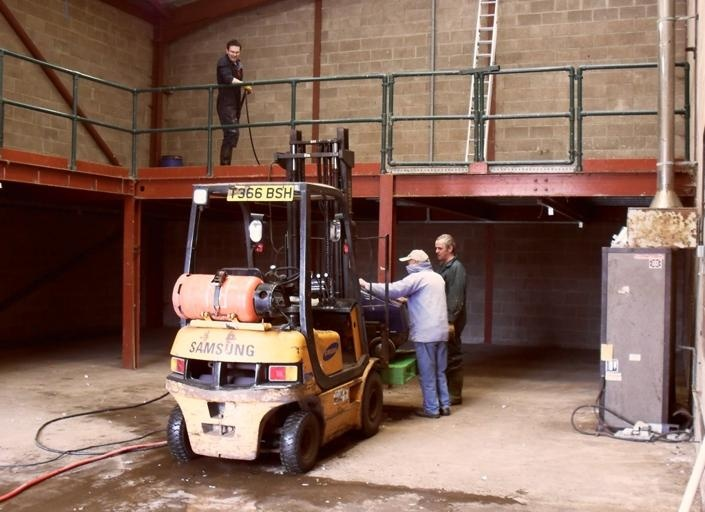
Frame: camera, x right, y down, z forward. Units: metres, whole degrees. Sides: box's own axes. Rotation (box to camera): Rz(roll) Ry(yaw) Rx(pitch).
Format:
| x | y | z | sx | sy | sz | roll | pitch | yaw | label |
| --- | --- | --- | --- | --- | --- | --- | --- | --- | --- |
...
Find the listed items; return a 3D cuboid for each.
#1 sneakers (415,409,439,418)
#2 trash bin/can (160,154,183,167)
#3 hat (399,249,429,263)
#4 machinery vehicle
| x | y | z | sx | sy | sz | roll | pitch | yaw | label |
| --- | --- | --- | --- | --- | --- | --- | --- | --- | --- |
| 1.017 | 2.154 | 10.892 | 0.338 | 0.132 | 0.117 | -2 | -1 | 30 | sneakers |
| -3.278 | -1.714 | 14.495 | 0.365 | 0.223 | 0.363 | 2 | 2 | 3 | trash bin/can |
| 0.839 | 0.005 | 10.829 | 0.379 | 0.171 | 0.241 | 1 | -1 | 7 | hat |
| -0.682 | 0.343 | 9.910 | 1.958 | 3.932 | 3.160 | 3 | 5 | 21 | machinery vehicle |
